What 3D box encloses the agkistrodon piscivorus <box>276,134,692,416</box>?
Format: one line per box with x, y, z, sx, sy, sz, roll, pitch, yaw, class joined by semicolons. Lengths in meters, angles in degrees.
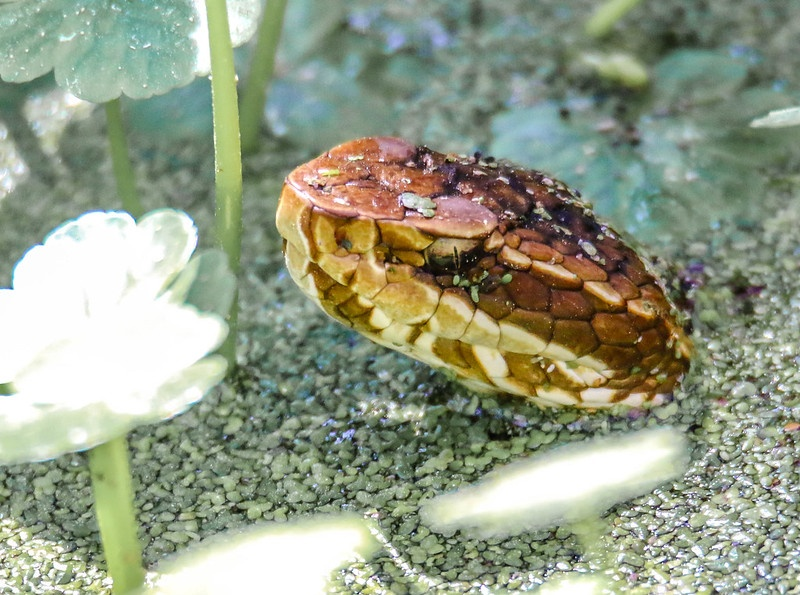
0.175;-0.109;1.944;0.958;0.311;0.681;-1;33;-38;agkistrodon piscivorus
